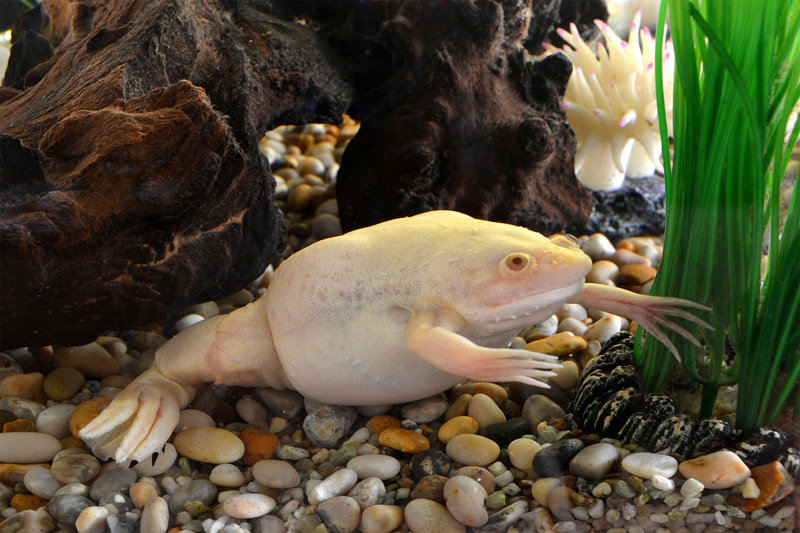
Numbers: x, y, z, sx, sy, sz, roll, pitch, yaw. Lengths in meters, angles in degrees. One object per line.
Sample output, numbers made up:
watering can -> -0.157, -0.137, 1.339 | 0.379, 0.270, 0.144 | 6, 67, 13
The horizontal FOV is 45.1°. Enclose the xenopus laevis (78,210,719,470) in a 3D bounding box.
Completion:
xenopus laevis -> -0.169, 0.240, 3.229 | 1.571, 0.668, 0.601 | -1, 32, 0
